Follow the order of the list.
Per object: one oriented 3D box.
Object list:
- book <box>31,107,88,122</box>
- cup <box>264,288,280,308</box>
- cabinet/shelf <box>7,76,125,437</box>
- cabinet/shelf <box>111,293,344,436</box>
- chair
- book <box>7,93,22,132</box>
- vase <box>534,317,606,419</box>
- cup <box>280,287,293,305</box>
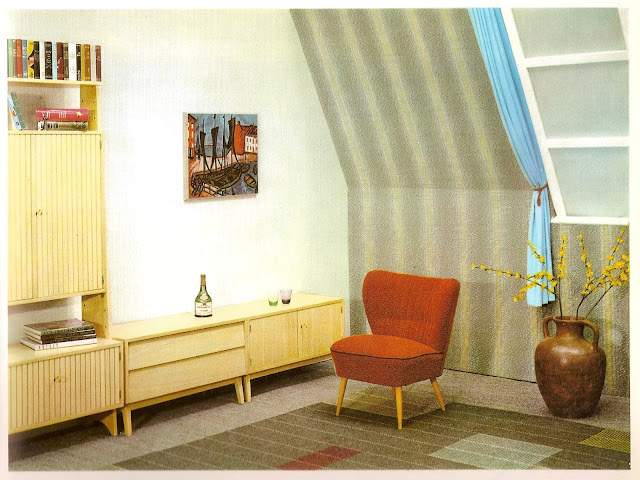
[{"bbox_3d":[-1.405,-0.678,2.913,0.249,0.078,0.045,-2,4,-24],"label":"book"},{"bbox_3d":[-0.362,0.454,4.124,0.105,0.112,0.102,1,4,0],"label":"cup"},{"bbox_3d":[-1.468,0.120,2.944,0.605,2.020,0.427,-4,6,-44],"label":"cabinet/shelf"},{"bbox_3d":[-0.603,0.802,3.774,1.693,0.545,0.419,-5,3,-38],"label":"cabinet/shelf"},{"bbox_3d":[0.504,0.649,3.531,0.777,0.834,0.740,2,4,44],"label":"chair"},{"bbox_3d":[-1.631,-0.676,2.850,0.065,0.206,0.189,-4,5,-41],"label":"book"},{"bbox_3d":[1.594,0.791,3.410,0.425,0.573,0.430,-1,3,30],"label":"vase"},{"bbox_3d":[-0.256,0.424,4.060,0.097,0.108,0.098,0,2,0],"label":"cup"}]
